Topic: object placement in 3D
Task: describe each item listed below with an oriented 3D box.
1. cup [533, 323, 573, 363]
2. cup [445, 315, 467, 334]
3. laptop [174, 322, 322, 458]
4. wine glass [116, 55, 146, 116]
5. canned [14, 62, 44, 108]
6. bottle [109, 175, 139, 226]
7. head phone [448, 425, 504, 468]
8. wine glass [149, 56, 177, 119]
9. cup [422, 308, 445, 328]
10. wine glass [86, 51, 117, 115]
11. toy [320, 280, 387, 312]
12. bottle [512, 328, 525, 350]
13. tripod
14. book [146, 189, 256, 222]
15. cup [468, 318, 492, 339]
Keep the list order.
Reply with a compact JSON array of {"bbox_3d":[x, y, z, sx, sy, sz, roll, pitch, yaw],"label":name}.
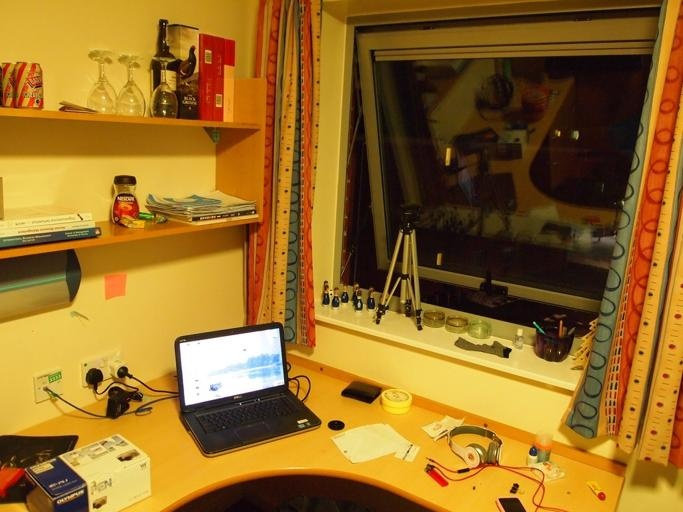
[{"bbox_3d":[0.928,0.392,2.419,0.161,0.163,0.123,-1,8,5],"label":"cup"},{"bbox_3d":[0.562,0.334,2.613,0.108,0.064,0.077,8,14,13],"label":"cup"},{"bbox_3d":[-0.374,0.518,2.230,0.508,0.338,0.430,-5,14,-35],"label":"laptop"},{"bbox_3d":[-0.837,-0.671,2.166,0.113,0.222,0.256,0,14,-20],"label":"wine glass"},{"bbox_3d":[-1.076,-0.583,1.867,0.100,0.156,0.103,15,16,23],"label":"canned"},{"bbox_3d":[-0.896,-0.233,2.237,0.109,0.193,0.205,-1,15,-23],"label":"bottle"},{"bbox_3d":[0.557,0.782,2.209,0.207,0.090,0.221,2,3,31],"label":"head phone"},{"bbox_3d":[-0.727,-0.684,2.225,0.109,0.235,0.119,0,14,-18],"label":"wine glass"},{"bbox_3d":[0.472,0.307,2.712,0.112,0.060,0.176,8,14,14],"label":"cup"},{"bbox_3d":[-0.930,-0.674,2.100,0.112,0.242,0.184,-1,14,-23],"label":"wine glass"},{"bbox_3d":[0.045,0.223,2.852,0.255,0.108,0.158,12,16,32],"label":"toy"},{"bbox_3d":[0.816,0.388,2.487,0.048,0.107,0.062,-12,18,-33],"label":"bottle"},{"bbox_3d":[0.327,0.023,2.751,0.237,0.574,0.426,6,13,7],"label":"tripod"},{"bbox_3d":[-0.595,-0.209,2.382,0.232,0.074,0.227,-8,18,-43],"label":"book"},{"bbox_3d":[0.660,0.339,2.565,0.081,0.050,0.083,-1,11,0],"label":"cup"}]
